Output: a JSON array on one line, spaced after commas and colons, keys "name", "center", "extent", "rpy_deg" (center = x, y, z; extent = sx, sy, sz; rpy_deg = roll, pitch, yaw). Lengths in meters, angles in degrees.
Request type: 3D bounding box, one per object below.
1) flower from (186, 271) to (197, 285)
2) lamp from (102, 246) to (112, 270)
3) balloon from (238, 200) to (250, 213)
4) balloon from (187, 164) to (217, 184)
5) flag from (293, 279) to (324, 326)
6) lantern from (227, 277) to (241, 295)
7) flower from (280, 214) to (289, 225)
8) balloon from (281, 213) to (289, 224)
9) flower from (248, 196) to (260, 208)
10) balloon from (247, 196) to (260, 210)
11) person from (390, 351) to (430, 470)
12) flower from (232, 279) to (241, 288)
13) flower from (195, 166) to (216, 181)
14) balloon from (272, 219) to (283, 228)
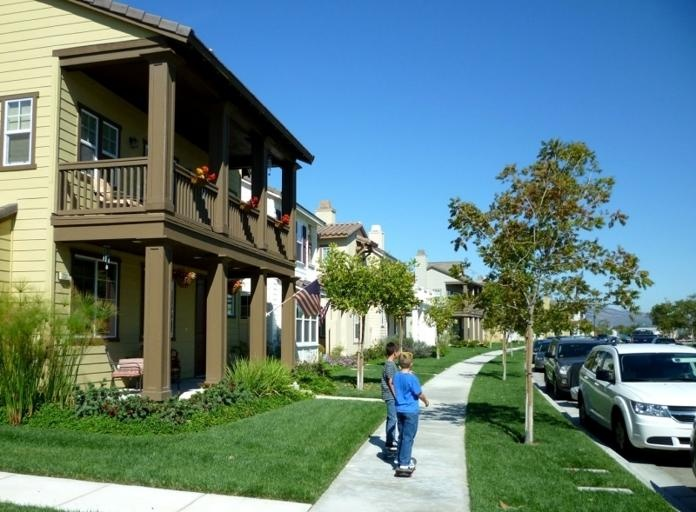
[{"name": "flower", "center": [-4.499, 0.626, 17.681], "extent": [0.188, 0.277, 0.601], "rpy_deg": [2, -4, -7]}, {"name": "lamp", "center": [-5.984, 0.053, 15.208], "extent": [0.189, 0.531, 0.740], "rpy_deg": [2, -11, -21]}, {"name": "balloon", "center": [-2.887, -1.377, 17.026], "extent": [0.204, 0.230, 0.312], "rpy_deg": [-5, 5, 11]}, {"name": "balloon", "center": [-3.490, -1.974, 14.814], "extent": [0.370, 0.317, 0.610], "rpy_deg": [-1, 3, -6]}, {"name": "flag", "center": [-1.238, 1.256, 19.207], "extent": [0.779, 1.130, 0.663], "rpy_deg": [0, -10, -8]}, {"name": "lantern", "center": [-3.658, 1.000, 19.852], "extent": [0.339, 0.432, 0.459], "rpy_deg": [2, -17, -7]}, {"name": "flower", "center": [-2.041, -1.211, 19.994], "extent": [0.278, 0.180, 0.286], "rpy_deg": [26, 3, -25]}, {"name": "balloon", "center": [-2.019, -1.197, 19.978], "extent": [0.261, 0.171, 0.277], "rpy_deg": [-11, -35, 35]}, {"name": "flower", "center": [-2.725, -1.553, 17.806], "extent": [0.324, 0.354, 0.188], "rpy_deg": [6, -45, 1]}, {"name": "balloon", "center": [-2.726, -1.530, 17.817], "extent": [0.194, 0.393, 0.392], "rpy_deg": [-4, -21, 20]}, {"name": "person", "center": [1.071, 2.731, 10.680], "extent": [0.558, 2.071, 1.032], "rpy_deg": [-2, -9, 4]}, {"name": "flower", "center": [-3.566, 0.913, 19.829], "extent": [0.212, 0.340, 0.358], "rpy_deg": [-2, -10, 2]}, {"name": "flower", "center": [-3.428, -2.006, 14.784], "extent": [0.423, 0.193, 0.449], "rpy_deg": [27, -13, 5]}, {"name": "balloon", "center": [-2.274, -1.036, 19.712], "extent": [0.240, 0.143, 0.355], "rpy_deg": [0, -4, -2]}]
